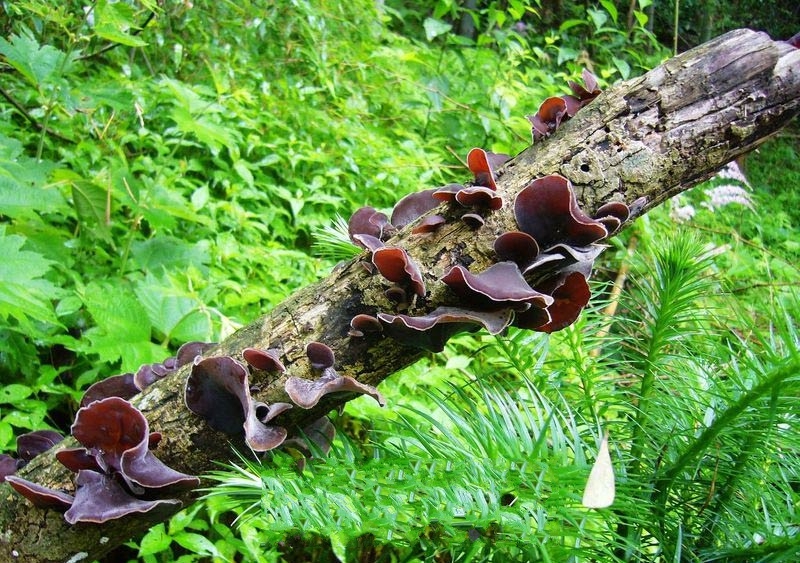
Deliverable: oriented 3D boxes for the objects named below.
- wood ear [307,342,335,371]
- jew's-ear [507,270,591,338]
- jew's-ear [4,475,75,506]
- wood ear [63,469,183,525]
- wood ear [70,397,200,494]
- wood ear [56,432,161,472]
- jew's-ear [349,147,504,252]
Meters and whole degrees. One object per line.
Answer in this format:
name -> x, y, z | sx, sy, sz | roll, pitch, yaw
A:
wood ear -> -0.272, 0.261, 2.625 | 0.106, 0.090, 0.036 | 44, 19, -4
jew's-ear -> 0.532, 0.060, 2.700 | 0.244, 0.242, 0.236 | -2, 9, -27
jew's-ear -> -1.277, 0.751, 2.580 | 0.164, 0.044, 0.148 | 30, -20, -14
wood ear -> -0.963, 0.764, 2.539 | 0.359, 0.129, 0.150 | 12, 31, -12
wood ear -> -0.929, 0.525, 2.676 | 0.381, 0.326, 0.447 | -1, 8, 31
wood ear -> -1.119, 0.621, 2.610 | 0.196, 0.077, 0.209 | 0, 11, 13
jew's-ear -> 0.102, -0.290, 2.758 | 0.481, 0.460, 0.423 | 8, 15, 41
